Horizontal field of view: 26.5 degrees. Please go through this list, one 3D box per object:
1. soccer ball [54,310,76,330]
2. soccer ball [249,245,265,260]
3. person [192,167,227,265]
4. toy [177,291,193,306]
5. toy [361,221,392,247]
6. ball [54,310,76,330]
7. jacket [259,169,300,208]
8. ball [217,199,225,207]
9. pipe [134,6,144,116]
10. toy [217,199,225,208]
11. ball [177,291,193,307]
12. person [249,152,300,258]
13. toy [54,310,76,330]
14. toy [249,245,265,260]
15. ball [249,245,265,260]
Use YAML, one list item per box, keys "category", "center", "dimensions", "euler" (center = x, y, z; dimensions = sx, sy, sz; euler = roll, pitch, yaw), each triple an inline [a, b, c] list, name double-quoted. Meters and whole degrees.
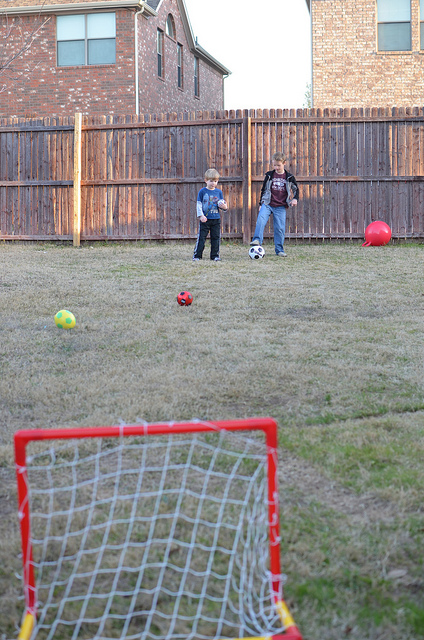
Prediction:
- category: "soccer ball"
  center: [-0.933, -0.012, 5.734]
  dimensions: [0.120, 0.124, 0.111]
  euler: [21, 0, 0]
- category: "soccer ball"
  center: [0.468, -0.722, 9.546]
  dimensions: [0.143, 0.144, 0.249]
  euler: [-1, 6, 1]
- category: "person"
  center: [-0.038, -1.097, 9.450]
  dimensions: [0.329, 0.951, 0.694]
  euler: [-1, 5, -1]
- category: "toy"
  center: [-0.204, -0.164, 6.537]
  dimensions: [0.079, 0.110, 0.096]
  euler: [-1, 31, 6]
- category: "toy"
  center: [2.026, -1.069, 11.110]
  dimensions: [0.344, 0.301, 0.316]
  euler: [0, 5, 11]
- category: "ball"
  center: [-0.922, -0.004, 5.741]
  dimensions: [0.125, 0.126, 0.105]
  euler: [25, -16, -38]
- category: "jacket"
  center: [0.750, -1.454, 10.039]
  dimensions: [0.355, 0.487, 0.250]
  euler: [1, -1, -2]
- category: "ball"
  center: [0.093, -1.226, 9.387]
  dimensions: [0.061, 0.081, 0.052]
  euler: [4, 12, 31]
- category: "pipe"
  center: [-1.332, -4.719, 16.305]
  dimensions: [0.158, 1.972, 0.580]
  euler: [0, 4, 7]
- category: "toy"
  center: [0.092, -1.229, 9.393]
  dimensions: [0.045, 0.075, 0.062]
  euler: [9, 15, 41]
- category: "ball"
  center: [-0.205, -0.163, 6.535]
  dimensions: [0.077, 0.106, 0.096]
  euler: [-2, 30, 3]
- category: "person"
  center: [0.700, -1.282, 9.984]
  dimensions: [0.529, 1.124, 0.648]
  euler: [-1, 5, 1]
- category: "toy"
  center: [-0.930, -0.012, 5.720]
  dimensions: [0.116, 0.123, 0.108]
  euler: [5, 2, -29]
- category: "toy"
  center: [0.467, -0.713, 9.520]
  dimensions: [0.115, 0.166, 0.153]
  euler: [-3, 48, 5]
- category: "ball"
  center: [0.468, -0.708, 9.508]
  dimensions: [0.112, 0.151, 0.159]
  euler: [-4, -36, 7]
